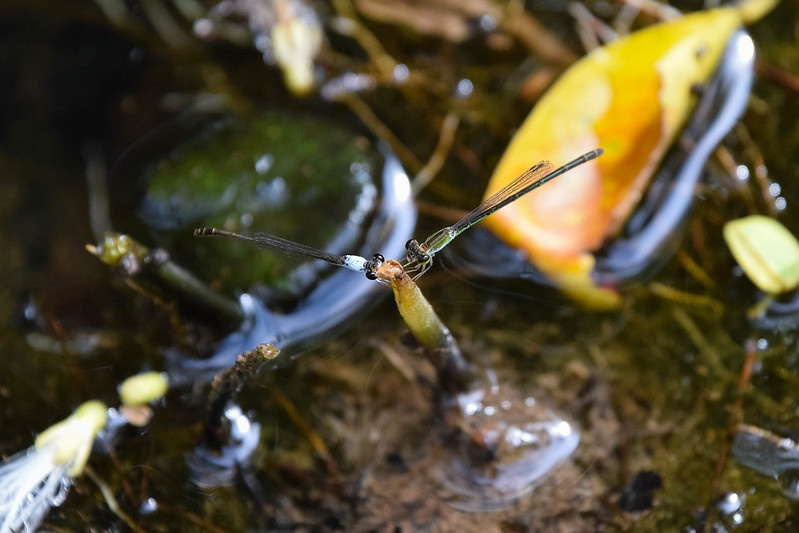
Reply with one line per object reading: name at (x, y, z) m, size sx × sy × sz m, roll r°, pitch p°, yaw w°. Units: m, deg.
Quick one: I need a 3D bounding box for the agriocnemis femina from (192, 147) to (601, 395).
agriocnemis femina at (-0.105, -0.015, 1.455) m, size 0.966 × 0.240 × 0.323 m, roll 2°, pitch -68°, yaw 17°
